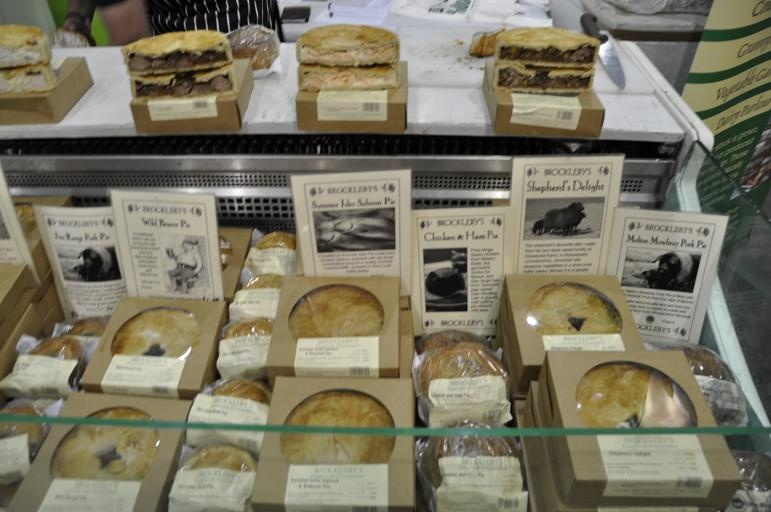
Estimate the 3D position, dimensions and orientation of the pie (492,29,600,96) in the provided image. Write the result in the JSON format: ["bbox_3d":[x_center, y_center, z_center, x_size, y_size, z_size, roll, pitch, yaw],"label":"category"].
[{"bbox_3d":[0.756,-0.802,2.485,0.498,0.254,0.400,8,-1,35],"label":"pie"}]
